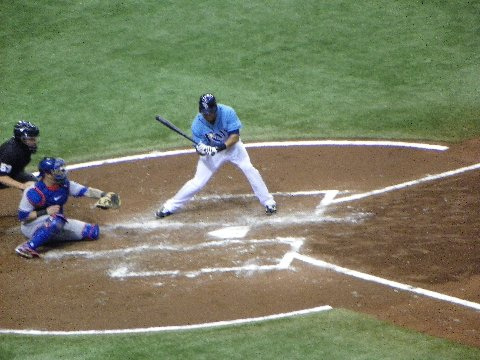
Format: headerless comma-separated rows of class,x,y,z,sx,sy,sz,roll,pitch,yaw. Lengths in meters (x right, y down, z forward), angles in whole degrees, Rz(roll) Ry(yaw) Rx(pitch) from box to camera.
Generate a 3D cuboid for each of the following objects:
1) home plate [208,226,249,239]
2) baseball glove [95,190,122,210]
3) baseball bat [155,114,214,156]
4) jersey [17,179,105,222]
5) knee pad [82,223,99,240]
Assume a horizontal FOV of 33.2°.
home plate,-0.199,0.905,13.845,0.670,0.051,0.370,2,32,-3
baseball glove,-2.252,0.373,13.978,0.309,0.178,0.463,7,17,35
baseball bat,-1.059,-0.829,15.436,1.661,0.186,0.193,32,-5,-3
jersey,-2.944,0.311,13.556,1.512,0.686,0.644,2,13,-15
knee pad,-2.546,0.876,13.707,0.283,0.259,0.160,-3,35,-9
